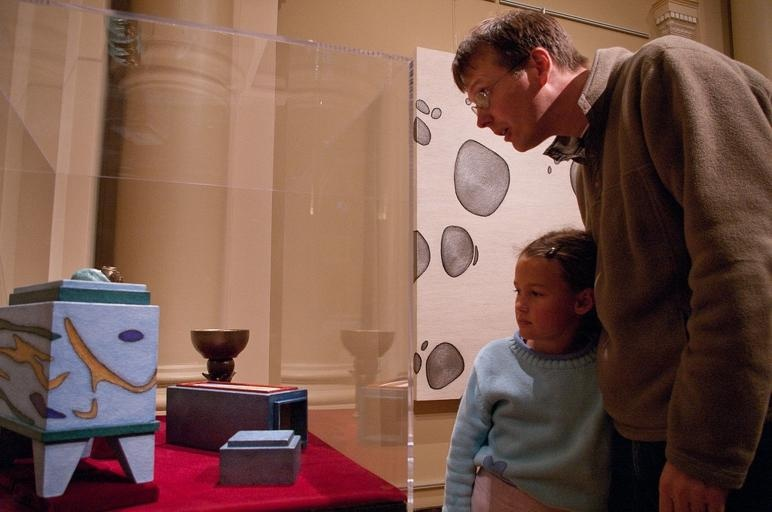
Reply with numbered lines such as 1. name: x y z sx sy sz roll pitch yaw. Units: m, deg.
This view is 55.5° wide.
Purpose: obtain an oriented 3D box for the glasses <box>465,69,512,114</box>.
1. glasses: 0.310 -0.495 2.189 0.109 0.031 0.103 -32 3 -10

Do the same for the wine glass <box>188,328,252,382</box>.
1. wine glass: -0.456 0.280 2.085 0.160 0.163 0.154 1 -10 -3
